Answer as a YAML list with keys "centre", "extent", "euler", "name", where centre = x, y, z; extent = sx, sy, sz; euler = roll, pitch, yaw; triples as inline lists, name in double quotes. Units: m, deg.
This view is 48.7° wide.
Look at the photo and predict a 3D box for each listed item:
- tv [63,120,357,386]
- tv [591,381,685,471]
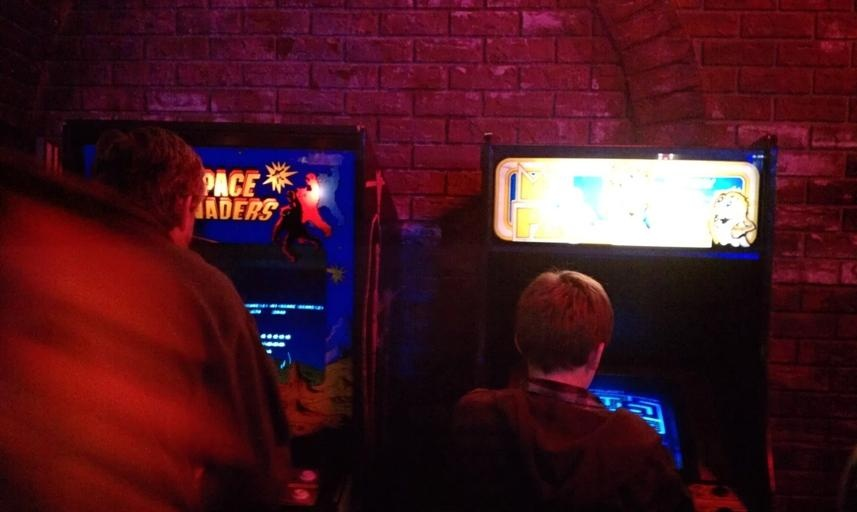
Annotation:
- centre: [-1.065, -0.019, 4.575]
  extent: [1.516, 1.268, 0.669]
  euler: [0, -2, -1]
  name: "tv"
- centre: [1.199, 0.804, 5.288]
  extent: [0.476, 0.578, 0.340]
  euler: [6, 42, 26]
  name: "tv"
